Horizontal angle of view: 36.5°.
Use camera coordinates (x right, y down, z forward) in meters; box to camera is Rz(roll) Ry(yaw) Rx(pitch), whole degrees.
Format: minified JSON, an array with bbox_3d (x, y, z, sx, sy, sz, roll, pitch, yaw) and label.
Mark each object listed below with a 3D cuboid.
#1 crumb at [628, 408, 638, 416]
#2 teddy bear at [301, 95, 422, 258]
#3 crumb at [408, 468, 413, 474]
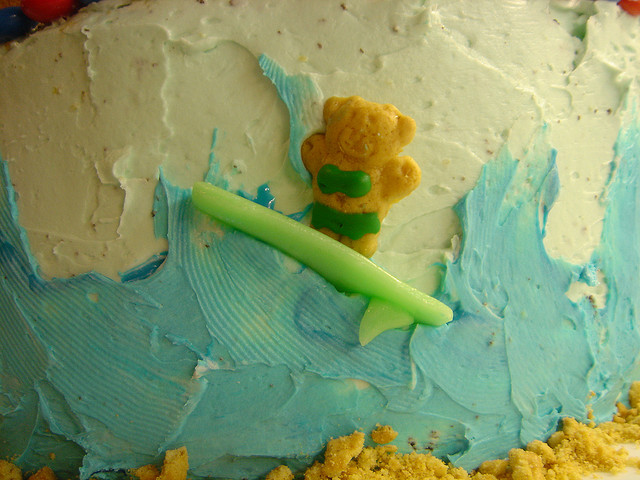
[{"bbox_3d":[2.686,1.521,8.381,0.056,0.035,0.061,-8,35,26],"label":"crumb"},{"bbox_3d":[0.289,-0.522,7.902,0.839,1.228,0.305,18,22,8],"label":"teddy bear"},{"bbox_3d":[0.737,1.919,7.937,0.041,0.014,0.033,32,53,5],"label":"crumb"}]
